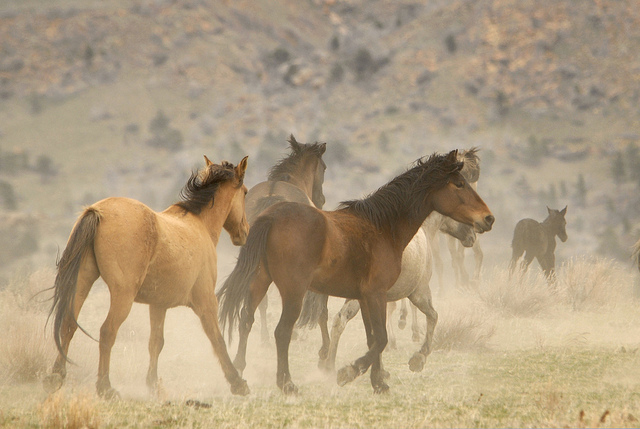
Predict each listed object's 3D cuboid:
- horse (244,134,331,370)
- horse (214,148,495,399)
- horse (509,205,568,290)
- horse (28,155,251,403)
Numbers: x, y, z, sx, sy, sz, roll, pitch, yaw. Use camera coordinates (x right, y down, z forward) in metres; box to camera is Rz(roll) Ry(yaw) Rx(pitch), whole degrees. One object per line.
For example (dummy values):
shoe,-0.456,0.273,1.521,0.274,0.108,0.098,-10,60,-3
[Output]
horse,-1.080,1.412,38.614,2.569,6.982,9.984,4,12,7
horse,0.929,1.795,36.738,9.662,7.527,2.535,-2,0,-23
horse,7.999,1.265,42.986,1.833,3.026,3.152,2,-4,-1
horse,-5.267,1.483,40.037,3.778,8.849,10.736,0,-1,44
